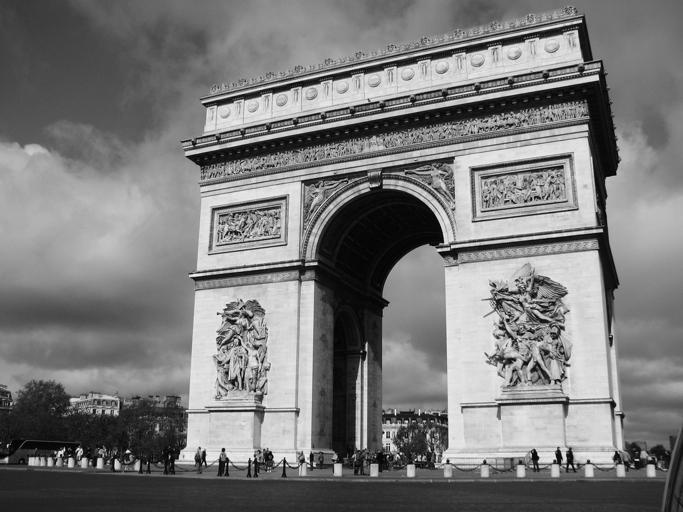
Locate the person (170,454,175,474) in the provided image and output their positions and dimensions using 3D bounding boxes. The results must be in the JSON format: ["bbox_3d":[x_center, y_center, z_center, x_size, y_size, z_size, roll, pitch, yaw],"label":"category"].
[{"bbox_3d":[-8.142,9.966,43.846,0.305,1.021,0.961,5,-20,-9],"label":"person"}]

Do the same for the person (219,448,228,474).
[{"bbox_3d":[-5.570,9.703,42.822,0.400,1.406,1.548,4,-20,-7],"label":"person"}]

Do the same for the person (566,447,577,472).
[{"bbox_3d":[10.393,9.215,41.409,0.406,1.255,1.323,-4,-21,15],"label":"person"}]

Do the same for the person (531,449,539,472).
[{"bbox_3d":[8.786,9.258,41.325,0.341,1.107,0.990,-2,-20,11],"label":"person"}]

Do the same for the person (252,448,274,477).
[{"bbox_3d":[-3.819,10.073,44.462,1.057,1.448,1.107,1,-30,0],"label":"person"}]

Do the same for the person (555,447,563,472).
[{"bbox_3d":[9.872,9.097,41.391,0.329,1.036,1.016,-3,-20,13],"label":"person"}]
